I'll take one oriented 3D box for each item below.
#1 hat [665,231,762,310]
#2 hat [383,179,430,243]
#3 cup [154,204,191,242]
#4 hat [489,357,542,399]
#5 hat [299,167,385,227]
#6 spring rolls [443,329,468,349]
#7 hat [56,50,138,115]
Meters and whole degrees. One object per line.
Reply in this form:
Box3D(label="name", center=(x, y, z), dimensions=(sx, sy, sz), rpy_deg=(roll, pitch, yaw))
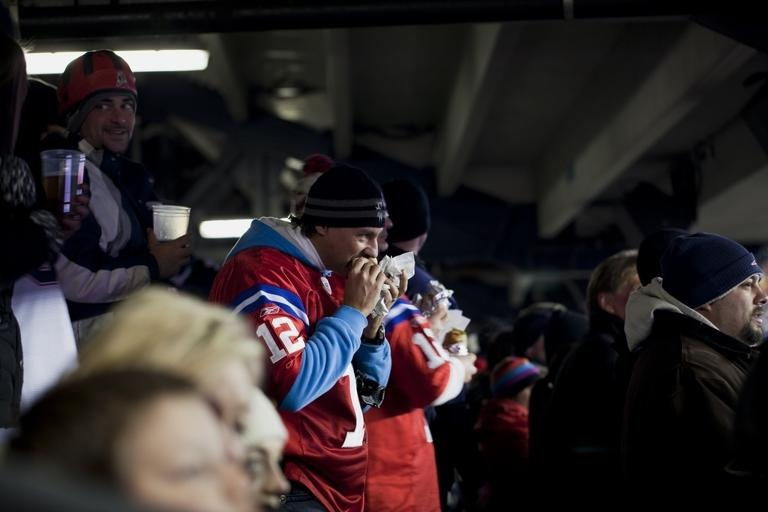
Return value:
Box3D(label="hat", center=(1.699, 0.033, 3.925), dimensions=(0.421, 0.343, 0.398), rpy_deg=(-14, 1, 14))
Box3D(label="hat", center=(0.128, -0.276, 4.465), dimensions=(0.385, 0.347, 0.280), rpy_deg=(-2, 3, -18))
Box3D(label="cup", center=(-1.216, -0.183, 4.076), dimensions=(0.221, 0.186, 0.202), rpy_deg=(8, 8, -1))
Box3D(label="hat", center=(0.898, 0.836, 5.145), dimensions=(0.324, 0.251, 0.257), rpy_deg=(-41, -2, 24))
Box3D(label="hat", center=(-0.197, -0.272, 3.525), dimensions=(0.308, 0.217, 0.311), rpy_deg=(-2, -5, 38))
Box3D(label="spring rolls", center=(0.391, 0.471, 4.100), dimensions=(0.110, 0.097, 0.085), rpy_deg=(-20, -16, 22))
Box3D(label="hat", center=(-1.546, -0.956, 4.056), dimensions=(0.401, 0.355, 0.301), rpy_deg=(-17, 9, 16))
